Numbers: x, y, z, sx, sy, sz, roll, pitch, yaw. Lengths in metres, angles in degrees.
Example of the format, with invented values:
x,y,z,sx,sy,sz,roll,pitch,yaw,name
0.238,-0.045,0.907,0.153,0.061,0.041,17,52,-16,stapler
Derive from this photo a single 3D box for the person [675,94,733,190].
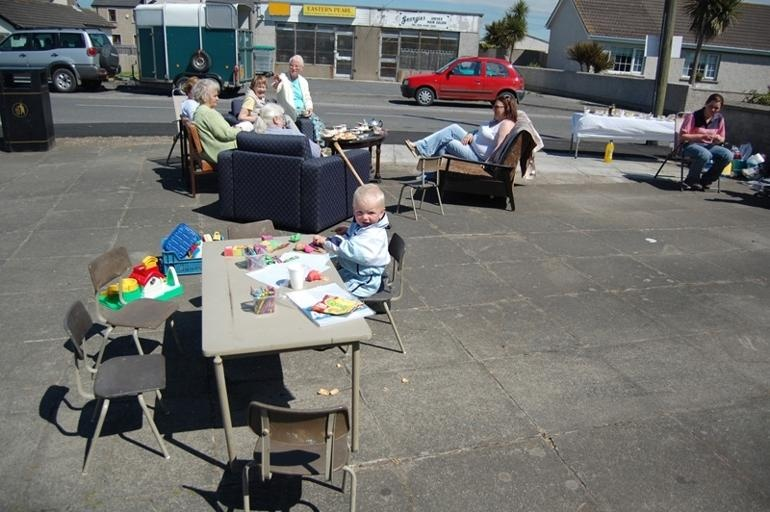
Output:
x,y,z,sx,sy,sz,roll,pitch,yaw,name
6.159,-2.178,10.880,0.973,1.761,0.681,15,24,26,person

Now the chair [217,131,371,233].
x,y,z,sx,sy,sz,roll,pitch,yaw,name
-1.180,-1.395,8.283,1.628,1.107,1.504,7,23,17,chair

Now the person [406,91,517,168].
x,y,z,sx,sy,sz,roll,pitch,yaw,name
1.469,-2.104,9.533,2.160,1.261,0.922,7,39,21,person

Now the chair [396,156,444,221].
x,y,z,sx,sy,sz,roll,pitch,yaw,name
0.614,-1.238,9.243,0.768,0.838,1.733,4,22,1,chair

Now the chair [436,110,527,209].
x,y,z,sx,sy,sz,roll,pitch,yaw,name
1.655,-1.626,9.515,1.425,1.199,1.226,3,29,6,chair

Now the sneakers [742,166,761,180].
x,y,z,sx,sy,sz,roll,pitch,yaw,name
7.430,-1.634,11.495,0.235,0.290,0.307,0,49,43,sneakers

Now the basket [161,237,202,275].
x,y,z,sx,sy,sz,roll,pitch,yaw,name
-2.416,-0.037,6.774,0.477,0.292,0.475,-3,7,-29,basket

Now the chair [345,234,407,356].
x,y,z,sx,sy,sz,roll,pitch,yaw,name
-0.123,0.389,5.753,0.797,1.002,0.787,-11,13,-26,chair

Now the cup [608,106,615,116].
x,y,z,sx,sy,sz,roll,pitch,yaw,name
5.226,-3.328,13.032,0.123,0.215,0.327,11,23,19,cup

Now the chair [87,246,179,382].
x,y,z,sx,sy,sz,roll,pitch,yaw,name
-2.377,0.497,5.455,0.727,0.943,0.726,4,19,-8,chair

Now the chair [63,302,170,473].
x,y,z,sx,sy,sz,roll,pitch,yaw,name
-2.169,1.065,4.756,0.855,1.148,0.841,5,16,-6,chair

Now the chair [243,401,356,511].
x,y,z,sx,sy,sz,roll,pitch,yaw,name
-0.629,1.526,4.248,0.678,0.903,0.662,1,38,-7,chair

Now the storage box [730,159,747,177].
x,y,z,sx,sy,sz,roll,pitch,yaw,name
7.591,-1.900,12.244,0.357,0.336,0.312,-9,21,4,storage box

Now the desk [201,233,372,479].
x,y,z,sx,sy,sz,roll,pitch,yaw,name
-1.087,0.736,5.379,1.329,1.113,2.398,-3,22,-14,desk

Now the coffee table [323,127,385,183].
x,y,z,sx,sy,sz,roll,pitch,yaw,name
-0.510,-1.664,9.678,1.029,0.766,1.030,-1,26,-2,coffee table

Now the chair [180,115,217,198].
x,y,z,sx,sy,sz,roll,pitch,yaw,name
-3.020,-1.625,9.196,0.597,0.842,1.248,-7,37,-21,chair

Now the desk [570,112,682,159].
x,y,z,sx,sy,sz,roll,pitch,yaw,name
5.700,-2.829,13.403,1.866,0.778,0.786,0,38,-1,desk
